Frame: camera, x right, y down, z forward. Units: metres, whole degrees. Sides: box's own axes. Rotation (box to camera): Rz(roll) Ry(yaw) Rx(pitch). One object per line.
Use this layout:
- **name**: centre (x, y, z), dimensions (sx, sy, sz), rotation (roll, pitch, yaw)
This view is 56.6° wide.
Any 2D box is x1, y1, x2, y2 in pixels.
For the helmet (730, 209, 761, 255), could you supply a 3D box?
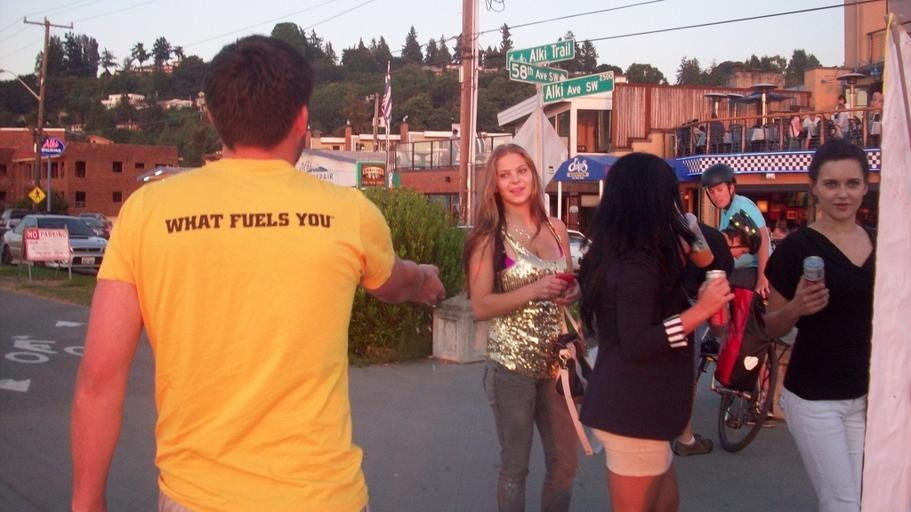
- **helmet**: centre (3.047, -0.226, 8.926), dimensions (0.211, 0.418, 0.328), rotation (-25, -21, -3)

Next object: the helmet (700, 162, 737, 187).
- **helmet**: centre (3.058, -0.900, 9.784), dimensions (0.274, 0.278, 0.347), rotation (-1, 22, 39)

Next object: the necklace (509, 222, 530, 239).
- **necklace**: centre (0.524, -0.198, 6.816), dimensions (0.175, 0.097, 0.041), rotation (12, -17, -33)

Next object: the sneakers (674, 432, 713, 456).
- **sneakers**: centre (2.422, 1.916, 8.681), dimensions (0.391, 0.165, 0.186), rotation (-5, 12, -12)

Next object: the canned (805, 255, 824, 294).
- **canned**: centre (2.600, 0.109, 6.145), dimensions (0.125, 0.194, 0.078), rotation (-1, 6, 3)

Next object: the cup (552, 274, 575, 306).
- **cup**: centre (0.841, 0.256, 6.483), dimensions (0.176, 0.255, 0.186), rotation (-1, 6, 0)

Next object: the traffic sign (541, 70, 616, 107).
- **traffic sign**: centre (1.961, -2.751, 13.597), dimensions (1.092, 0.473, 0.789), rotation (-1, 6, 7)
